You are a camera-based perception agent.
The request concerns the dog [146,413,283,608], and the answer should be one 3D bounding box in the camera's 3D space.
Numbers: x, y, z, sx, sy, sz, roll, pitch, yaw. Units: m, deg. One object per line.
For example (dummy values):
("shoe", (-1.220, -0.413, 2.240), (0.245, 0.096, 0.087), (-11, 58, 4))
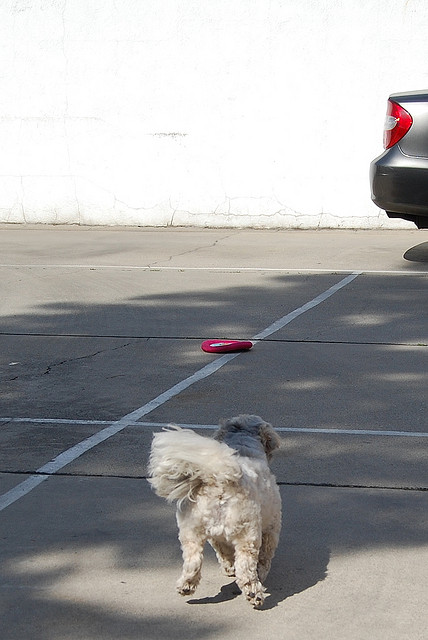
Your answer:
("dog", (0.033, 0.584, 2.805), (0.343, 0.612, 0.537), (1, 13, 12))
